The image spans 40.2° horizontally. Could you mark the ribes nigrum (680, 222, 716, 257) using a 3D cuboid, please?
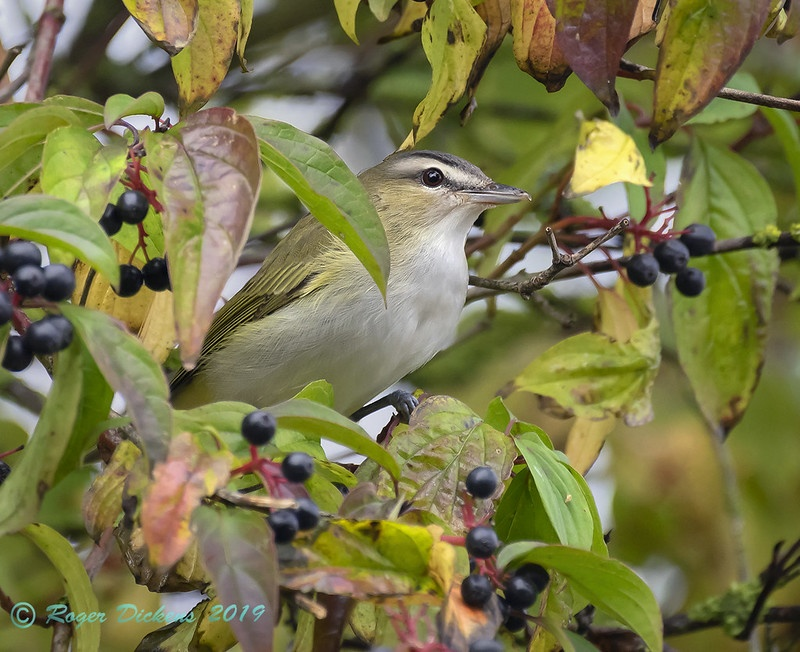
[{"bbox_3d":[0.966,-0.284,3.591,0.097,0.113,0.108,3,1,-20],"label":"ribes nigrum"}]

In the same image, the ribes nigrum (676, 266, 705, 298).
[{"bbox_3d":[0.935,-0.147,3.563,0.084,0.110,0.089,0,2,6],"label":"ribes nigrum"}]

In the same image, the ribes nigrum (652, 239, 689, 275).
[{"bbox_3d":[0.870,-0.227,3.515,0.081,0.092,0.116,1,-8,-11],"label":"ribes nigrum"}]

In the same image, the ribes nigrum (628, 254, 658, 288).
[{"bbox_3d":[0.776,-0.183,3.551,0.090,0.117,0.095,-1,-2,4],"label":"ribes nigrum"}]
